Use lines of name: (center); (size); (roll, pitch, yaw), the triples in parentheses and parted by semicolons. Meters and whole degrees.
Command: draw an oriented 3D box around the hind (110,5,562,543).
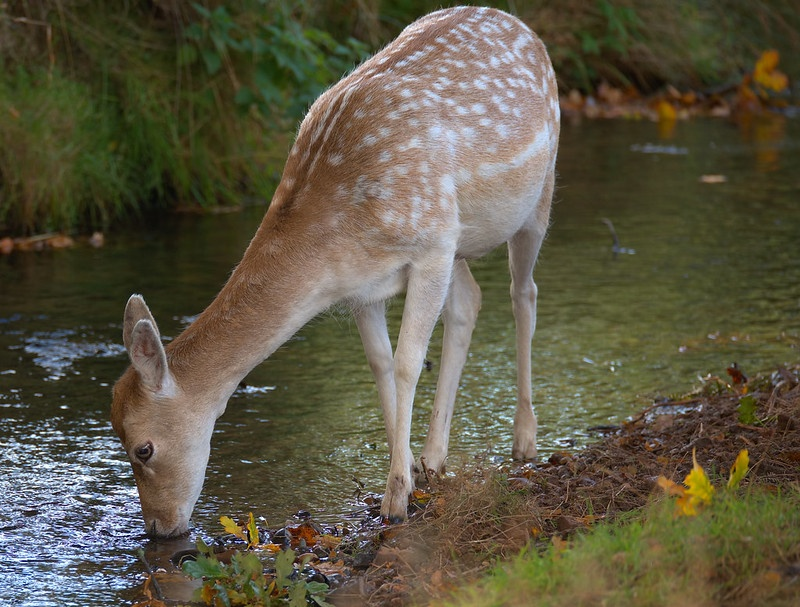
hind: (-0.184, -0.205, 5.315); (2.345, 2.319, 0.959); (-16, 18, -40)
